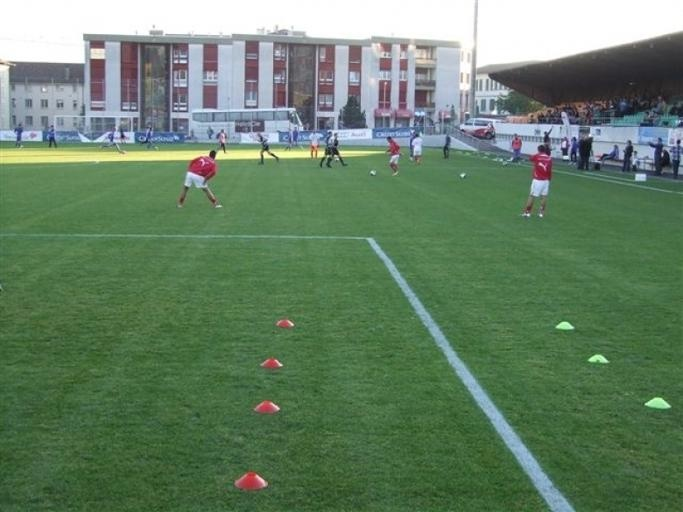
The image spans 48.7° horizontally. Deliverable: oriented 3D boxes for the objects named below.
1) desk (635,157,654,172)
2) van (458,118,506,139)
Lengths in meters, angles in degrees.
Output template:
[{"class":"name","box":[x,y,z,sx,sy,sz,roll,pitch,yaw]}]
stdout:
[{"class":"desk","box":[15.315,-4.659,38.209,0.463,0.418,0.832,-3,9,-3]},{"class":"van","box":[11.799,-10.990,63.751,3.369,1.677,2.103,22,38,18]}]
